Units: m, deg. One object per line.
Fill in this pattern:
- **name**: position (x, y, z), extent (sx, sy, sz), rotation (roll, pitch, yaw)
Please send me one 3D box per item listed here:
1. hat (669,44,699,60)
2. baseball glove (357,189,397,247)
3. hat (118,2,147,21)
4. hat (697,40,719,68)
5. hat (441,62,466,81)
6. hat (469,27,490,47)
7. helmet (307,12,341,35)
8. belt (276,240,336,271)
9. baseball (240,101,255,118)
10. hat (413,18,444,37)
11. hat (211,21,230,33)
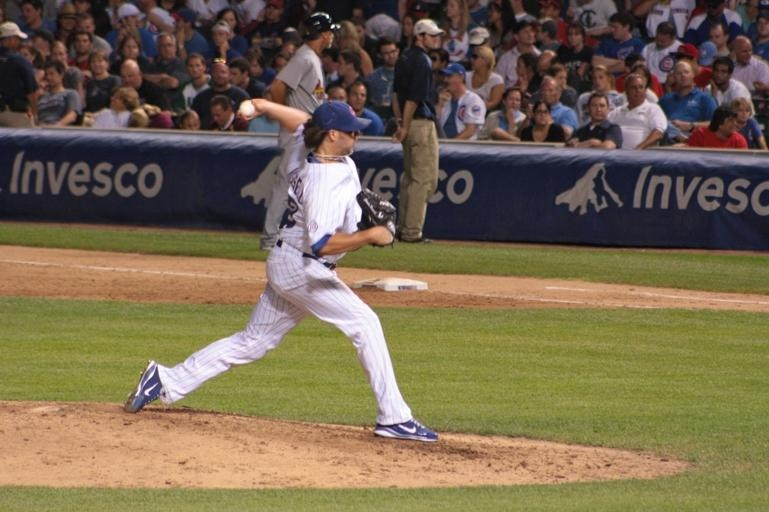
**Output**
- **hat**: position (4.710, -3.258, 26.889), extent (0.383, 0.189, 0.229), rotation (12, 16, 13)
- **baseball glove**: position (-0.061, -0.430, 18.551), extent (0.371, 0.637, 0.312), rotation (-42, 5, 12)
- **hat**: position (-4.598, -4.395, 30.640), extent (0.432, 0.212, 0.428), rotation (-12, 5, 9)
- **hat**: position (5.252, -3.349, 27.861), extent (0.291, 0.216, 0.434), rotation (14, 52, 30)
- **hat**: position (1.088, -2.921, 26.677), extent (0.375, 0.164, 0.257), rotation (7, 2, -14)
- **hat**: position (1.548, -3.701, 28.446), extent (0.289, 0.198, 0.394), rotation (-2, 22, 26)
- **helmet**: position (-0.850, -3.203, 23.187), extent (0.417, 0.183, 0.325), rotation (-15, 16, -36)
- **belt**: position (-0.854, 0.026, 18.658), extent (0.477, 0.120, 0.372), rotation (24, -1, 4)
- **baseball**: position (-1.541, -1.639, 18.978), extent (0.190, 0.168, 0.261), rotation (-13, 7, 1)
- **hat**: position (0.622, -3.391, 25.063), extent (0.402, 0.178, 0.274), rotation (1, 10, 17)
- **hat**: position (-2.919, -4.103, 30.249), extent (0.320, 0.215, 0.511), rotation (2, 4, -5)
